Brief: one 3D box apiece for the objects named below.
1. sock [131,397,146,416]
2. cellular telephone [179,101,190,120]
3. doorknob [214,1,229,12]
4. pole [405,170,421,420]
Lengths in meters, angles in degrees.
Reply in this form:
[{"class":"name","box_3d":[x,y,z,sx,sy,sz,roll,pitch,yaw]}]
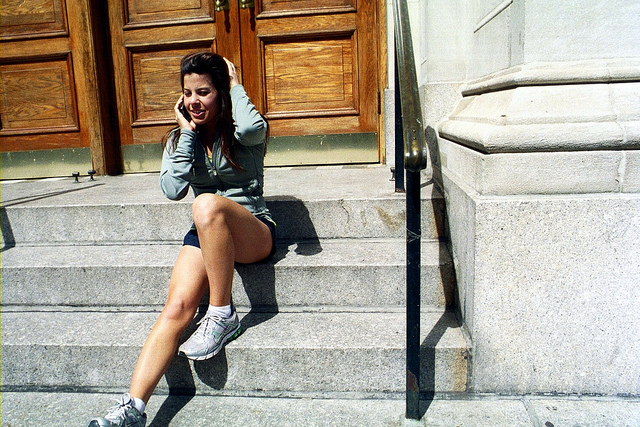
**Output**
[{"class":"sock","box_3d":[-1.009,1.063,3.111,0.040,0.048,0.113,-17,45,-42]},{"class":"cellular telephone","box_3d":[-0.907,-0.685,3.724,0.037,0.101,0.075,-38,0,-3]},{"class":"doorknob","box_3d":[-0.965,-2.024,5.463,0.110,0.102,0.045,-1,5,-7]},{"class":"pole","box_3d":[0.515,0.460,3.113,0.069,1.383,0.229,0,12,15]}]
